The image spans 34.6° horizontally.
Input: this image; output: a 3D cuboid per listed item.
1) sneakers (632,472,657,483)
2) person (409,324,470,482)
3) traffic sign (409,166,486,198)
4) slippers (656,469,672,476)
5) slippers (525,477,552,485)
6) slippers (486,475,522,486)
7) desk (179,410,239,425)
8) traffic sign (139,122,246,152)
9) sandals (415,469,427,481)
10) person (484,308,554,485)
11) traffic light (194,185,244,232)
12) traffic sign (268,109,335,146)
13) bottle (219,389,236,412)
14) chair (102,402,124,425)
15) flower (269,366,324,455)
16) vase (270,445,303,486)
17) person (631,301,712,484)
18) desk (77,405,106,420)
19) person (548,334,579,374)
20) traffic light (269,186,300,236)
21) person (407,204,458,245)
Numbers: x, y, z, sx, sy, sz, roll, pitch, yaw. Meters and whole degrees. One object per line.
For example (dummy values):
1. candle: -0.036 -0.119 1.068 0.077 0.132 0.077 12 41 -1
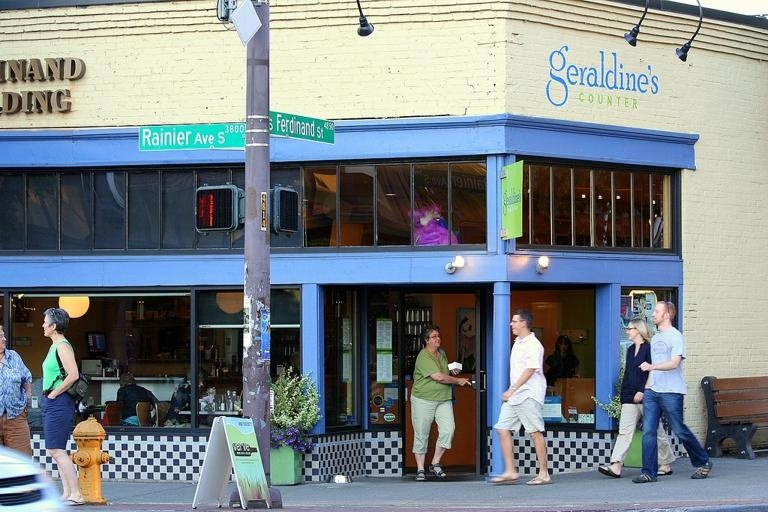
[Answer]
1. sneakers: 4.201 3.567 19.909 0.425 0.171 0.150 3 -3 4
2. person: 0.883 2.554 21.581 0.774 2.668 0.433 -1 -2 0
3. traffic sign: 1.150 -1.300 21.384 1.593 0.681 0.031 0 -5 -34
4. slippers: 4.661 3.580 20.456 0.217 0.059 0.085 2 -3 -13
5. slippers: 2.542 3.659 20.123 0.334 0.102 0.162 4 -10 -15
6. slippers: 1.982 3.709 20.434 0.472 0.198 0.161 3 -5 7
7. desk: -3.055 2.817 21.666 1.061 0.269 0.206 -1 -1 11
8. traffic sign: -2.935 -1.851 19.054 1.734 0.417 0.347 -2 -1 18
9. sandals: 0.650 3.830 21.671 0.231 0.198 0.605 0 0 1
10. person: 2.264 2.311 20.286 0.897 2.857 0.807 -1 -2 5
11. traffic light: -2.477 -0.714 18.622 0.754 0.710 0.392 0 1 18
12. traffic sign: -1.256 -1.996 19.175 1.115 0.364 0.023 5 8 -44
13. bottle: -2.718 2.531 21.645 0.344 0.391 0.069 -1 -2 -4
14. chair: -4.850 2.783 21.953 0.366 0.522 0.377 6 -10 -29
15. flower: -1.519 2.695 21.071 0.804 1.335 0.496 -1 -2 -5
16. vase: -1.754 3.544 21.163 0.593 0.805 0.799 0 -2 13
17. person: 4.570 2.176 19.951 1.103 2.878 0.688 0 -2 -35
18. desk: -5.205 2.752 21.974 0.514 0.345 0.332 -1 5 0
19. person: 3.250 1.762 22.159 0.583 0.759 0.428 1 -21 4
20. traffic light: -1.507 -0.711 18.782 0.230 0.712 0.490 -2 -2 33
21. person: 0.846 -0.510 21.512 0.616 0.792 0.273 -12 4 9
